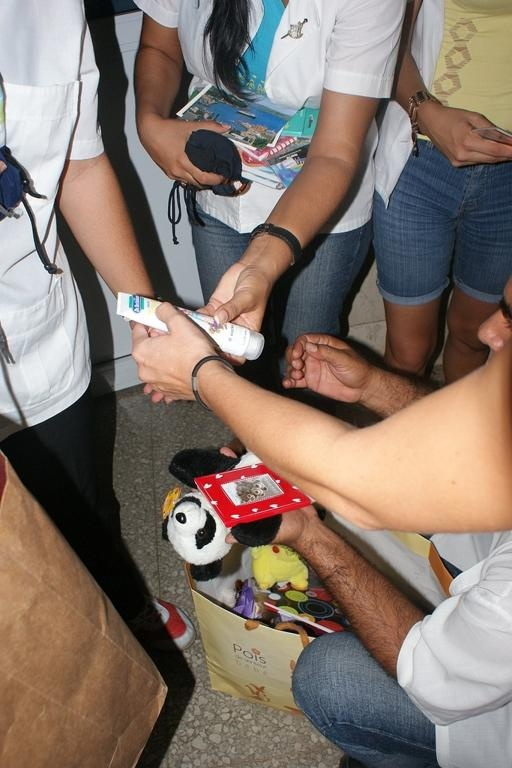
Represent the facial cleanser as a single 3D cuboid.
[{"bbox_3d":[-0.113,-0.105,1.031,0.270,0.063,0.079,8,17,-25],"label":"facial cleanser"}]
